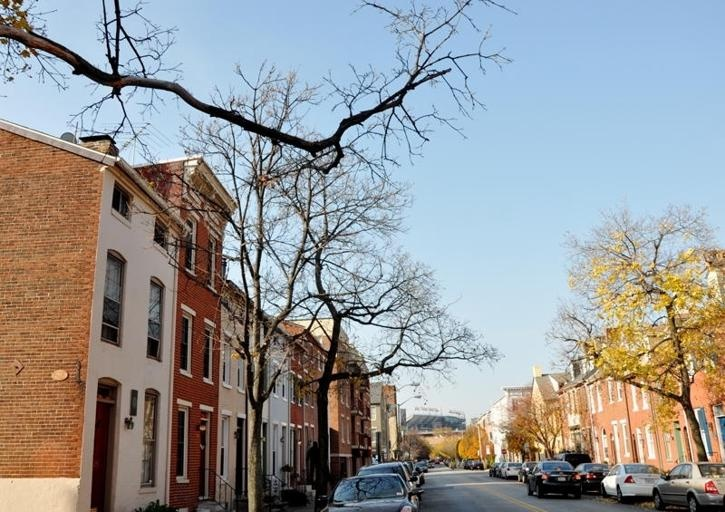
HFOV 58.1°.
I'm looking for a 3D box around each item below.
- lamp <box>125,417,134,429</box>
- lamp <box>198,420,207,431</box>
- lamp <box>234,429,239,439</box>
[{"bbox_3d":[-7.243,5.207,20.267,0.242,0.370,0.265,-22,-29,28],"label":"lamp"},{"bbox_3d":[-6.284,6.692,25.731,0.325,0.181,0.471,1,-6,-7],"label":"lamp"},{"bbox_3d":[-5.657,8.063,29.479,0.221,0.349,0.262,0,-20,-3],"label":"lamp"}]
